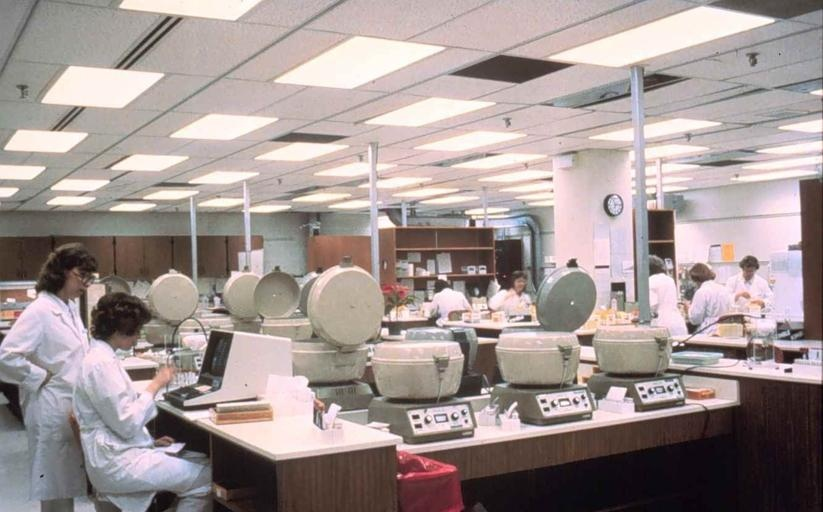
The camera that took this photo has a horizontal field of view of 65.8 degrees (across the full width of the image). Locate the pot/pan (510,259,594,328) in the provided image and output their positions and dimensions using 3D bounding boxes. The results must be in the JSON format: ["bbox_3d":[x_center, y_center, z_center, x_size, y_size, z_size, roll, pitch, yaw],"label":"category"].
[{"bbox_3d":[1.201,0.342,5.056,0.480,0.536,0.282,1,-3,-37],"label":"pot/pan"}]

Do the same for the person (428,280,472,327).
[{"bbox_3d":[0.616,0.828,10.977,0.505,0.792,0.462,-13,36,1],"label":"person"}]

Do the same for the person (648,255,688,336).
[{"bbox_3d":[3.308,0.504,8.260,0.425,1.022,0.922,-1,-2,22],"label":"person"}]

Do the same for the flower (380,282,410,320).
[{"bbox_3d":[-0.193,0.752,10.748,0.585,0.523,0.557,5,-9,-22],"label":"flower"}]

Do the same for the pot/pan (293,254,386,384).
[{"bbox_3d":[-0.569,0.535,4.862,0.541,0.909,0.539,1,-3,-32],"label":"pot/pan"}]

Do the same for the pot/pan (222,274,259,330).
[{"bbox_3d":[-1.972,0.542,7.398,0.401,0.681,0.307,0,-2,-14],"label":"pot/pan"}]

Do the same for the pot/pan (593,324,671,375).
[{"bbox_3d":[1.744,0.724,5.028,0.473,0.240,0.430,-2,-1,-7],"label":"pot/pan"}]

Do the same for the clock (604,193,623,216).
[{"bbox_3d":[3.244,-0.825,10.289,0.408,0.368,0.123,-2,-3,-34],"label":"clock"}]

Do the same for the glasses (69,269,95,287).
[{"bbox_3d":[-2.856,0.178,5.474,0.158,0.057,0.158,14,1,-44],"label":"glasses"}]

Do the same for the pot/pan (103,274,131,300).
[{"bbox_3d":[-3.702,0.381,7.964,0.297,0.283,0.319,-6,3,0],"label":"pot/pan"}]

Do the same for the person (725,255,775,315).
[{"bbox_3d":[5.084,0.388,9.645,0.652,0.794,1.800,-2,-3,28],"label":"person"}]

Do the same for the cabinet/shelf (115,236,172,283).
[{"bbox_3d":[-6.559,0.084,15.386,1.305,1.062,0.477,1,-1,-17],"label":"cabinet/shelf"}]

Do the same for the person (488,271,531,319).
[{"bbox_3d":[1.796,0.730,11.786,0.824,0.712,0.429,3,-4,-24],"label":"person"}]

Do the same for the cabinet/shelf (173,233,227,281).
[{"bbox_3d":[-5.589,0.021,17.094,1.927,1.471,0.991,2,-5,-29],"label":"cabinet/shelf"}]

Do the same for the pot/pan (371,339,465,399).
[{"bbox_3d":[0.050,0.764,4.399,0.502,0.243,0.457,-3,-1,4],"label":"pot/pan"}]

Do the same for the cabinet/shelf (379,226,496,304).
[{"bbox_3d":[0.456,0.203,13.278,1.882,1.134,0.542,1,-3,-23],"label":"cabinet/shelf"}]
